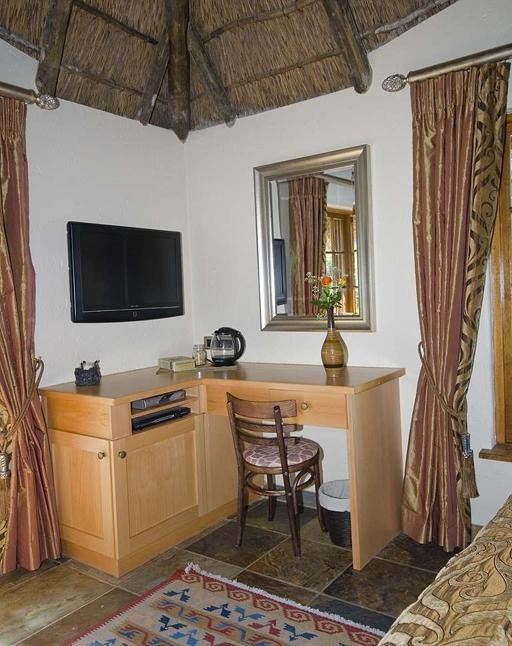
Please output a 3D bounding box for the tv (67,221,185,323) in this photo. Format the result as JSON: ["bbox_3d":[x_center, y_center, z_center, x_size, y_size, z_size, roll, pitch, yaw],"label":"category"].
[{"bbox_3d":[-0.718,-0.277,2.762,0.038,0.429,0.556,1,5,32],"label":"tv"}]

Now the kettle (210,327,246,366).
[{"bbox_3d":[-0.155,0.134,2.899,0.141,0.264,0.239,-2,-4,42],"label":"kettle"}]

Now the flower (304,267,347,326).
[{"bbox_3d":[0.376,-0.115,2.632,0.205,0.293,0.151,-1,-4,26],"label":"flower"}]

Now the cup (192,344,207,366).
[{"bbox_3d":[-0.327,0.189,3.035,0.098,0.161,0.096,-1,-6,0],"label":"cup"}]

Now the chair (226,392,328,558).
[{"bbox_3d":[0.111,0.667,2.378,0.399,0.718,0.392,-9,6,-40],"label":"chair"}]
